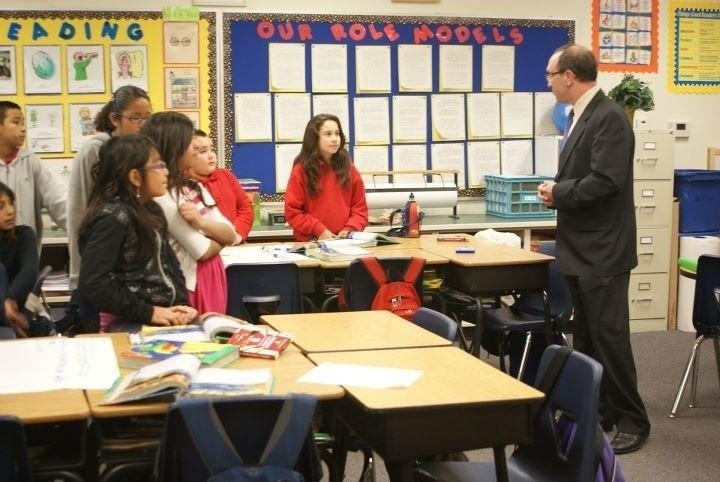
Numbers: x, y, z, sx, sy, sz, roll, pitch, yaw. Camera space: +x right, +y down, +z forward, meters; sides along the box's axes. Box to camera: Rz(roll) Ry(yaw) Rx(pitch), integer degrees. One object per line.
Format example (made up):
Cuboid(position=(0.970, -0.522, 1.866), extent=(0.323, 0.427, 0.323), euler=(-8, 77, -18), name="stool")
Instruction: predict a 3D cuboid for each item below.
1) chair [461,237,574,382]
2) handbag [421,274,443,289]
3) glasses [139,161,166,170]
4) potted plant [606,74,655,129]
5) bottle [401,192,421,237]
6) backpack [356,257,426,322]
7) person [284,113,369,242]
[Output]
Cuboid(position=(1.057, 0.527, 4.369), extent=(0.674, 0.887, 0.590), euler=(-4, 5, -16), name="chair")
Cuboid(position=(0.459, 0.264, 4.362), extent=(0.094, 0.046, 0.116), euler=(4, 11, 9), name="handbag")
Cuboid(position=(-0.947, -0.351, 3.123), extent=(0.047, 0.039, 0.124), euler=(1, 8, 19), name="glasses")
Cuboid(position=(2.269, -1.202, 5.839), extent=(0.489, 0.437, 0.498), euler=(-1, 8, -5), name="potted plant")
Cuboid(position=(0.389, -0.191, 5.026), extent=(0.131, 0.302, 0.284), euler=(-1, 8, 10), name="bottle")
Cuboid(position=(0.231, 0.261, 3.969), extent=(0.368, 0.415, 0.229), euler=(-11, 43, 10), name="backpack")
Cuboid(position=(-0.258, -0.457, 4.773), extent=(0.577, 0.855, 0.246), euler=(-3, 8, -3), name="person")
